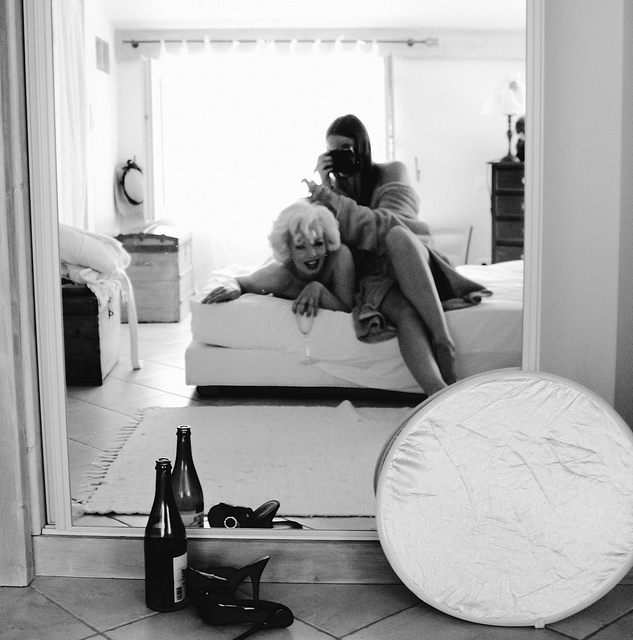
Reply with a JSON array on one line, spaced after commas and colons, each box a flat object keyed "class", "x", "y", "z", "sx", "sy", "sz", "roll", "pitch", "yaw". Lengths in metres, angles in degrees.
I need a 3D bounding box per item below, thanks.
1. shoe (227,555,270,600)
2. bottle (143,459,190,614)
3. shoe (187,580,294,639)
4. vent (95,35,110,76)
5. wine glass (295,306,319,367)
[{"class": "shoe", "x": -0.153, "y": 0.555, "z": 1.706, "sx": 0.043, "sy": 0.075, "sz": 0.146, "roll": 0, "pitch": 1, "yaw": -33}, {"class": "bottle", "x": -0.335, "y": 0.464, "z": 1.738, "sx": 0.080, "sy": 0.371, "sz": 0.097, "roll": 6, "pitch": 21, "yaw": 5}, {"class": "shoe", "x": -0.169, "y": 0.617, "z": 1.704, "sx": 0.232, "sy": 0.131, "sz": 0.096, "roll": -2, "pitch": 8, "yaw": 13}, {"class": "vent", "x": -0.470, "y": -0.583, "z": 1.695, "sx": 0.031, "sy": 0.076, "sz": 0.011, "roll": -3, "pitch": 9, "yaw": -21}, {"class": "wine glass", "x": -0.031, "y": 0.031, "z": 1.890, "sx": 0.047, "sy": 0.054, "sz": 0.147, "roll": -8, "pitch": -27, "yaw": 2}]
